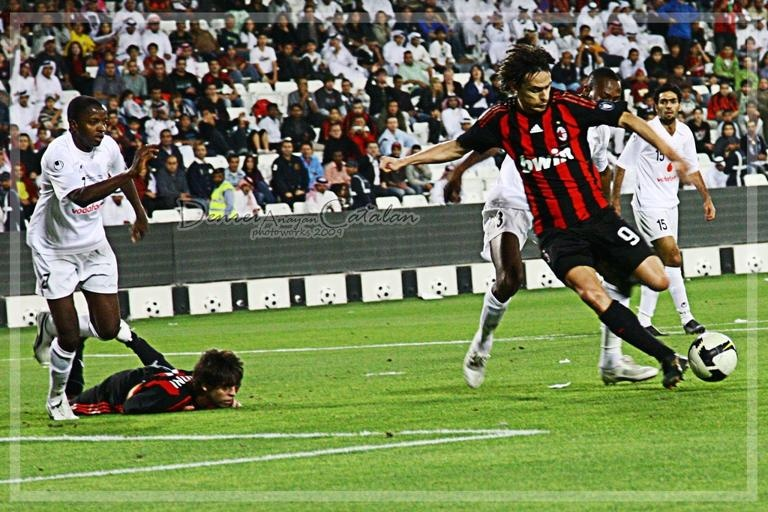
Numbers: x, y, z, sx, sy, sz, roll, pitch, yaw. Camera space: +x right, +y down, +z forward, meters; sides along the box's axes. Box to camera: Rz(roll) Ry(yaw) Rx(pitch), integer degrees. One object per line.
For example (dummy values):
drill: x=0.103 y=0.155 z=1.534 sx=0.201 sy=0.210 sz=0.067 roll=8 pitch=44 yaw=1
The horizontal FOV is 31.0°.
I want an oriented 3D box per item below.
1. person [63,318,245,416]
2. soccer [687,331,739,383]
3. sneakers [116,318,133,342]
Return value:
person: x=-2.531 y=1.316 z=15.858 sx=1.668 sy=0.642 sz=0.893 roll=0 pitch=10 yaw=14
soccer: x=3.727 y=1.142 z=15.638 sx=0.542 sy=0.588 sz=0.521 roll=-16 pitch=17 yaw=-17
sneakers: x=-3.047 y=0.874 z=16.204 sx=0.183 sy=0.222 sz=0.238 roll=-9 pitch=28 yaw=-4
